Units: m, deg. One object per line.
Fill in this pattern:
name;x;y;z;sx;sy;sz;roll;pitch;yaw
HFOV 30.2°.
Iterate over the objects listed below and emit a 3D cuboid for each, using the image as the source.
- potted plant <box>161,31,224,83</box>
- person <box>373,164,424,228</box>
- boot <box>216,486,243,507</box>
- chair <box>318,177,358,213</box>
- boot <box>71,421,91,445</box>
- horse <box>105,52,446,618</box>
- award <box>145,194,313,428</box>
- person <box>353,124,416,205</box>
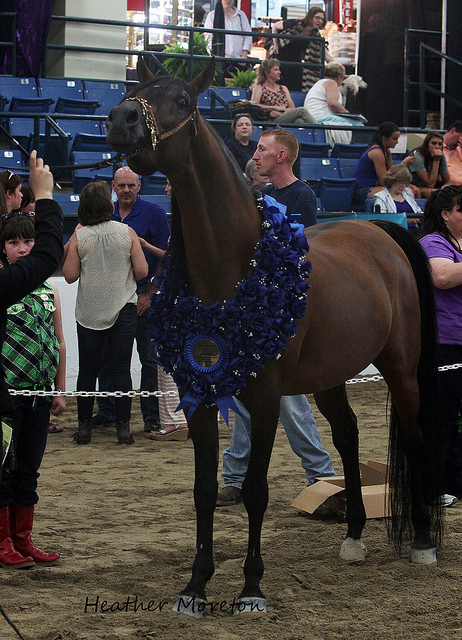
potted plant;-0.720;-4.713;15.482;1.019;0.813;1.052;6;9;25
person;1.777;-1.297;9.154;0.514;0.636;0.545;1;9;33
boot;0.031;0.956;4.658;0.102;0.100;0.272;-8;-9;32
chair;1.170;-1.455;9.941;0.474;0.498;0.489;-2;15;-8
boot;-1.075;0.800;6.121;0.125;0.153;0.133;1;3;-12
horse;0.260;0.140;3.522;0.697;1.912;2.289;-5;-5;38
award;0.031;-0.012;3.154;0.633;0.708;0.341;3;-2;9
person;1.755;-1.609;9.899;0.783;1.176;0.504;7;23;18
